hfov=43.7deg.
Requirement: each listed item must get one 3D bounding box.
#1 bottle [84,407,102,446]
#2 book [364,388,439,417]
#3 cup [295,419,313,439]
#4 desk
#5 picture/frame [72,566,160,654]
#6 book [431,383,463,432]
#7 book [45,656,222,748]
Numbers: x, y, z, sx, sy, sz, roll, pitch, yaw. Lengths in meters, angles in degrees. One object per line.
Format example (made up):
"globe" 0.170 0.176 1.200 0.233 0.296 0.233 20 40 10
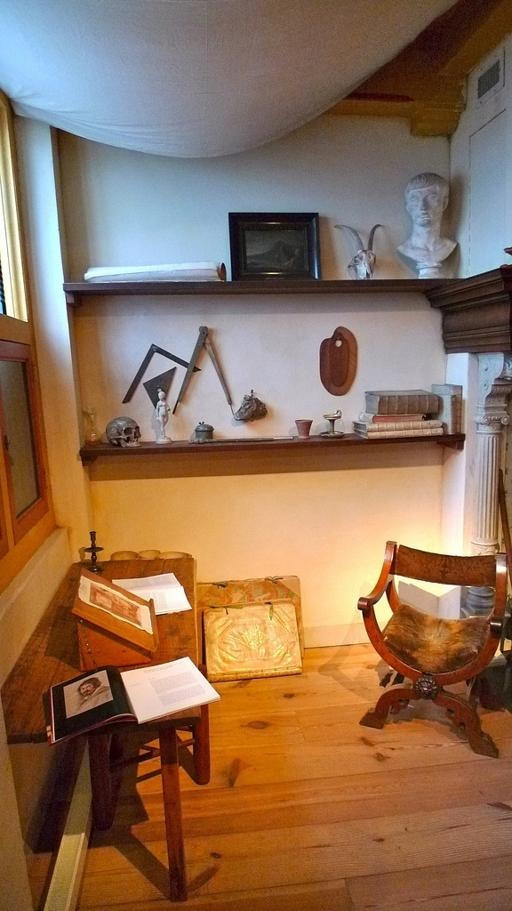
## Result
"bottle" -0.797 -0.138 3.101 0.069 0.161 0.059 -4 11 -17
"book" 0.747 -0.257 3.271 0.388 0.144 0.198 -3 11 -11
"cup" 0.238 -0.130 3.169 0.085 0.100 0.081 1 2 0
"desk" -0.425 0.909 2.165 0.609 0.641 1.251 -2 25 -5
"picture/frame" -0.430 0.486 1.988 0.243 0.060 0.243 32 15 -41
"book" 0.967 -0.234 3.216 0.063 0.197 0.199 -4 15 -8
"book" -0.352 0.656 1.782 0.461 0.073 0.308 -6 12 -25
